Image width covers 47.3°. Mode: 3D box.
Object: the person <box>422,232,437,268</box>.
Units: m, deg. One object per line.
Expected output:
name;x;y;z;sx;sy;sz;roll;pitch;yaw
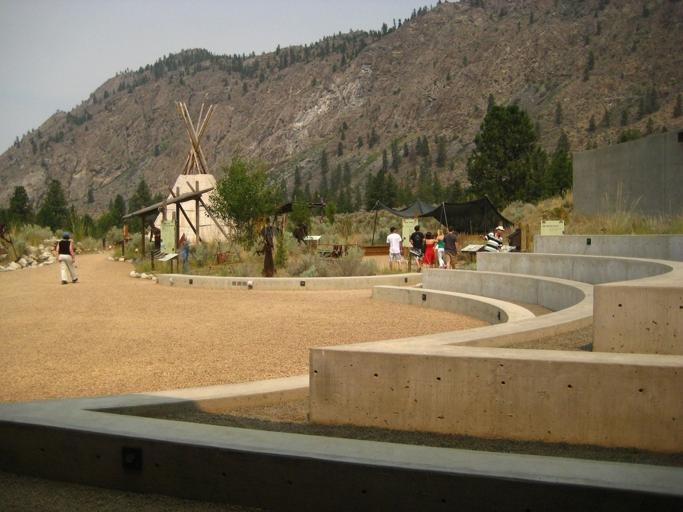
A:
person;2.801;-0.205;24.880;0.427;1.131;1.612;-2;2;7

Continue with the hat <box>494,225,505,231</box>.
hat;5.751;-1.021;28.294;0.450;0.152;0.519;-2;2;2
